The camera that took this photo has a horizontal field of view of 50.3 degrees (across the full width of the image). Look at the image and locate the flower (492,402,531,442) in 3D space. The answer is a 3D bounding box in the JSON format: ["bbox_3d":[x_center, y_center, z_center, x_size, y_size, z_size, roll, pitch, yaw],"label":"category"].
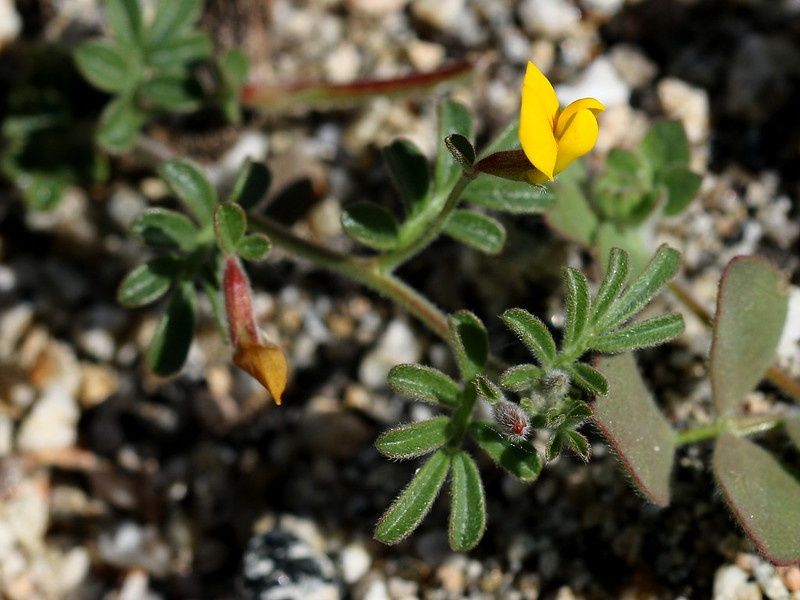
[{"bbox_3d":[0.373,0.418,2.769,0.053,0.137,0.100,-30,30,25],"label":"flower"}]

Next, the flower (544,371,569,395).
[{"bbox_3d":[0.517,0.270,2.790,0.063,0.072,0.073,-34,12,25],"label":"flower"}]

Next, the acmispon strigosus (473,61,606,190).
[{"bbox_3d":[0.455,-0.522,2.794,0.340,0.224,0.440,-22,15,13],"label":"acmispon strigosus"}]

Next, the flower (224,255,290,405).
[{"bbox_3d":[-0.501,0.105,2.822,0.081,0.596,0.177,-25,-37,8],"label":"flower"}]
